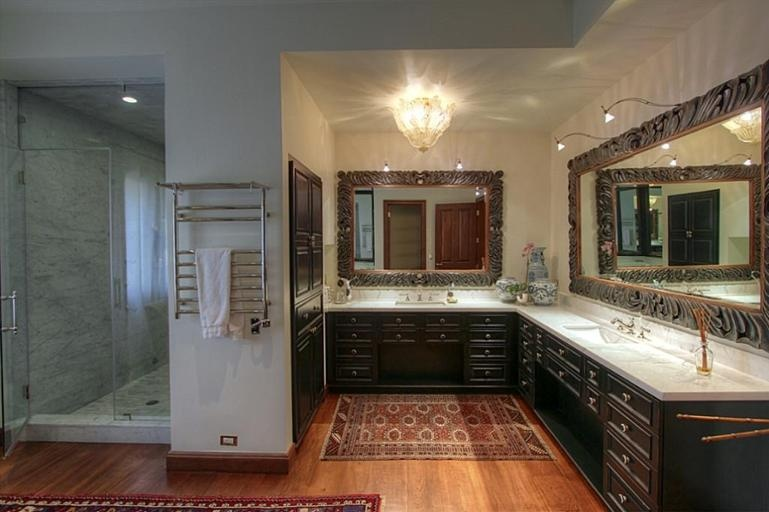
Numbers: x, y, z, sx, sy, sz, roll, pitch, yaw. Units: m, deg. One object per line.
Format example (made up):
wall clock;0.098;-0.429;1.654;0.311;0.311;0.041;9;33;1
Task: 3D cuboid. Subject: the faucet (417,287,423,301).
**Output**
faucet;0.435;0.469;6.465;0.069;0.142;0.069;0;3;-3

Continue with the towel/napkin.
towel/napkin;-1.479;0.336;4.679;0.390;0.810;0.133;-1;3;-11

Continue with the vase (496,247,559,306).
vase;1.707;0.228;6.305;0.704;0.676;0.401;1;3;22

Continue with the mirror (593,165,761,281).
mirror;2.584;-0.289;4.564;0.064;0.791;1.171;0;0;-27

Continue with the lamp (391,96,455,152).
lamp;0.416;-1.316;5.613;0.642;0.467;0.628;-3;-7;13

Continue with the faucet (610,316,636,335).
faucet;2.279;0.657;5.023;0.093;0.149;0.287;-1;1;-8

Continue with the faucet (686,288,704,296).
faucet;2.637;0.299;4.454;0.108;0.038;0.071;1;1;-41

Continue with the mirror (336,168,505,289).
mirror;0.453;-0.319;6.506;2.210;1.534;0.054;-1;4;-17
